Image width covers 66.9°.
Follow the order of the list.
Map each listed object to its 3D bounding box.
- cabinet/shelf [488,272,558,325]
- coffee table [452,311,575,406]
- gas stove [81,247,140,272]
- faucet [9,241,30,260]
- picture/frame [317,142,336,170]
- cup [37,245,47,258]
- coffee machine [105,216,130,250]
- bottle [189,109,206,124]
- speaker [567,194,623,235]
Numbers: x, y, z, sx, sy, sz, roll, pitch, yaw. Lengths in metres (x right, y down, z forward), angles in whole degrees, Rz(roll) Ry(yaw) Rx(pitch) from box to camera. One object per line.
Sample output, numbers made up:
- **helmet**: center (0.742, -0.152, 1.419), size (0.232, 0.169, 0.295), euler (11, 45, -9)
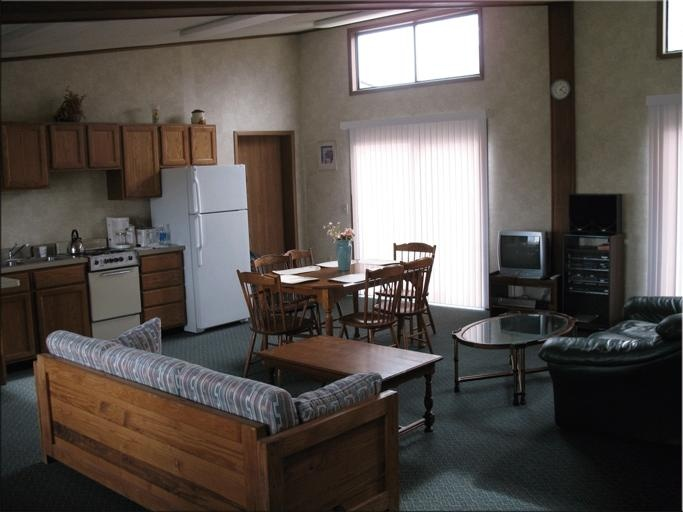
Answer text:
- **cabinet/shelf**: center (2.230, 0.510, 6.344), size (0.550, 0.516, 0.216), euler (5, 12, 35)
- **coffee table**: center (1.588, 0.748, 4.826), size (0.759, 0.458, 1.188), euler (1, 6, 40)
- **gas stove**: center (-2.794, 0.053, 6.309), size (0.158, 0.202, 0.613), euler (8, 13, 44)
- **faucet**: center (-3.844, -0.054, 6.134), size (0.160, 0.224, 0.164), euler (6, 5, 19)
- **picture/frame**: center (-0.241, -1.693, 8.690), size (0.472, 0.619, 0.044), euler (3, 5, 36)
- **cup**: center (-3.603, -0.057, 6.214), size (0.089, 0.129, 0.155), euler (-4, 10, -14)
- **coffee machine**: center (-2.929, -0.316, 6.752), size (0.395, 0.528, 0.295), euler (-2, 4, -19)
- **bottle**: center (-2.049, -1.971, 7.447), size (0.226, 0.222, 0.222), euler (-4, 5, -43)
- **speaker**: center (3.152, -0.521, 6.366), size (0.522, 0.441, 0.189), euler (1, 2, 40)
